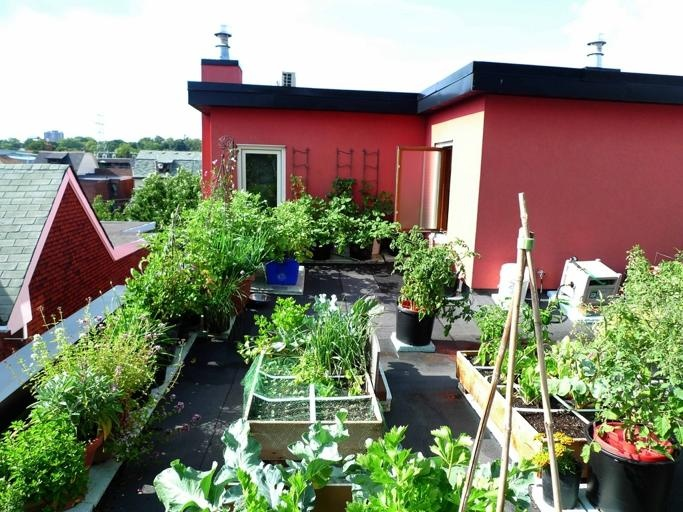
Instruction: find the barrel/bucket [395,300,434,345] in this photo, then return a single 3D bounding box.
[{"bbox_3d":[0.802,0.722,5.312,0.424,0.334,0.397,2,9,0],"label":"barrel/bucket"}]
